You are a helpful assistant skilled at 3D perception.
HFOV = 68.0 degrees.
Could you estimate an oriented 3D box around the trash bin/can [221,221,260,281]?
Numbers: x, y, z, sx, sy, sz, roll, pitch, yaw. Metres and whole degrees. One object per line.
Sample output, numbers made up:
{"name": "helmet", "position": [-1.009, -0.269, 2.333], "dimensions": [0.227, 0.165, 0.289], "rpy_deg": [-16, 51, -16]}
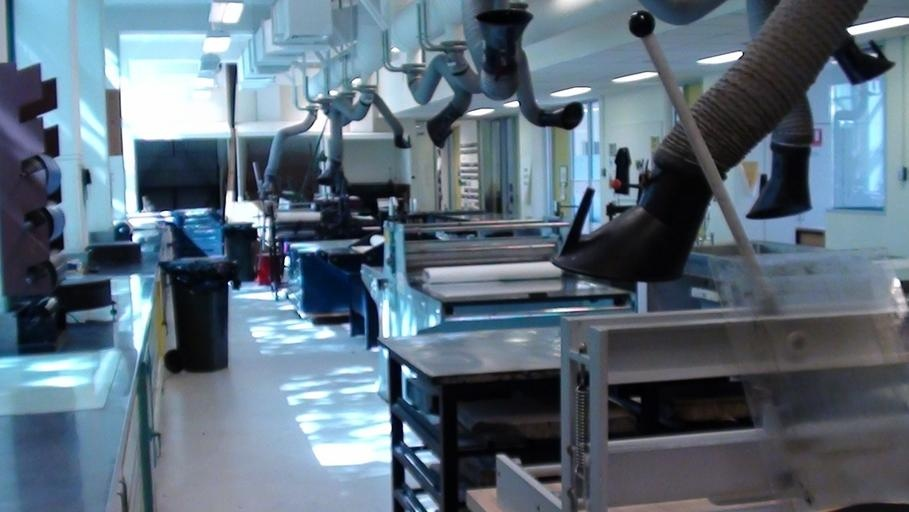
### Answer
{"name": "trash bin/can", "position": [-3.703, -0.087, 11.785], "dimensions": [0.566, 0.992, 0.536], "rpy_deg": [-5, 11, -17]}
